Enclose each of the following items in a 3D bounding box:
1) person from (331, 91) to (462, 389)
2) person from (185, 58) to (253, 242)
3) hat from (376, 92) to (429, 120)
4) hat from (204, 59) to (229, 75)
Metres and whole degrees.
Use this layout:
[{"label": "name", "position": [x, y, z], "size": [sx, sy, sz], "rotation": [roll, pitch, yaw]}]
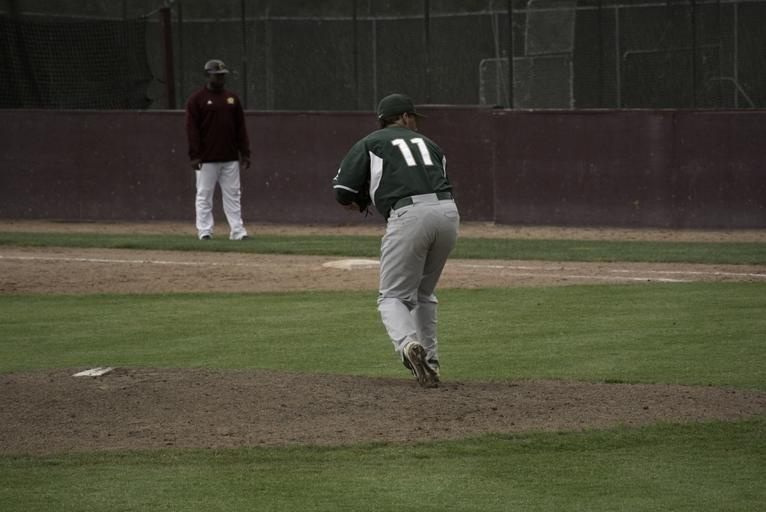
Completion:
[{"label": "person", "position": [0.223, -0.254, 22.580], "size": [1.462, 3.757, 1.109], "rotation": [-3, 8, -15]}, {"label": "person", "position": [-2.936, -1.901, 30.160], "size": [1.100, 3.133, 0.580], "rotation": [-3, 8, -15]}, {"label": "hat", "position": [0.192, -2.041, 22.846], "size": [0.547, 0.261, 0.372], "rotation": [-5, 7, -15]}, {"label": "hat", "position": [-2.980, -3.340, 29.997], "size": [0.322, 0.236, 0.291], "rotation": [-3, 8, -13]}]
